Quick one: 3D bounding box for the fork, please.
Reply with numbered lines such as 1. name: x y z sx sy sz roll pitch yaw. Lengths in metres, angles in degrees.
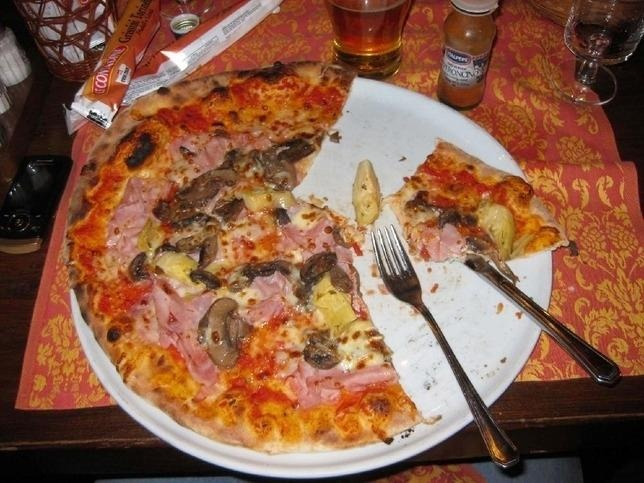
1. fork: 0.311 0.258 1.314 0.095 0.082 0.727 -22 65 -7
